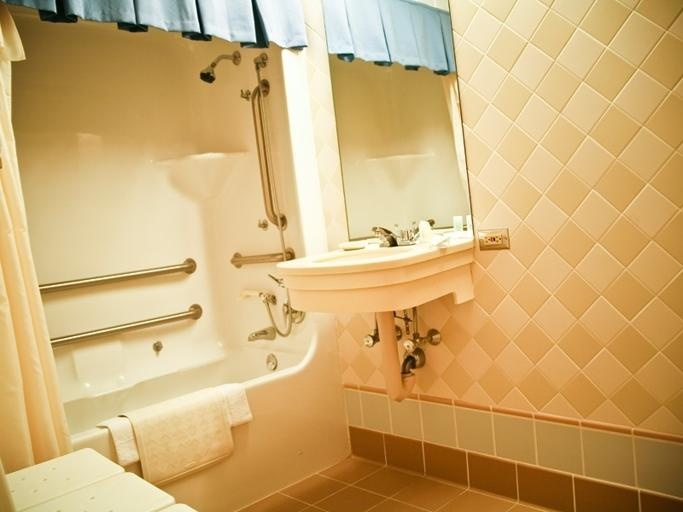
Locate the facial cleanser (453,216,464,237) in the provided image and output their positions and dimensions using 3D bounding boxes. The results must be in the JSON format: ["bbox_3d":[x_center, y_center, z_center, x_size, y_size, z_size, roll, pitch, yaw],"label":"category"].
[{"bbox_3d":[0.533,-0.143,2.240,0.046,0.085,0.013,-1,9,35],"label":"facial cleanser"}]

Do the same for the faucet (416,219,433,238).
[{"bbox_3d":[0.389,-0.130,2.313,0.085,0.078,0.072,-4,8,23],"label":"faucet"}]

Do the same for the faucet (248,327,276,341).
[{"bbox_3d":[-0.455,0.459,2.851,0.153,0.084,0.055,-13,-22,19],"label":"faucet"}]

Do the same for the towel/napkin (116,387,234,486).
[{"bbox_3d":[-0.694,0.781,2.107,0.370,0.283,0.142,-7,-9,-44],"label":"towel/napkin"}]

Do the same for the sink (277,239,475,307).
[{"bbox_3d":[0.216,0.086,2.060,0.481,0.211,0.447,-2,8,40],"label":"sink"}]

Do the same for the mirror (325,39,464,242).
[{"bbox_3d":[0.245,-0.587,2.399,0.138,0.919,0.742,-13,10,-41],"label":"mirror"}]

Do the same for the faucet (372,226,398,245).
[{"bbox_3d":[0.205,-0.110,2.458,0.050,0.059,0.164,-6,25,-41],"label":"faucet"}]
